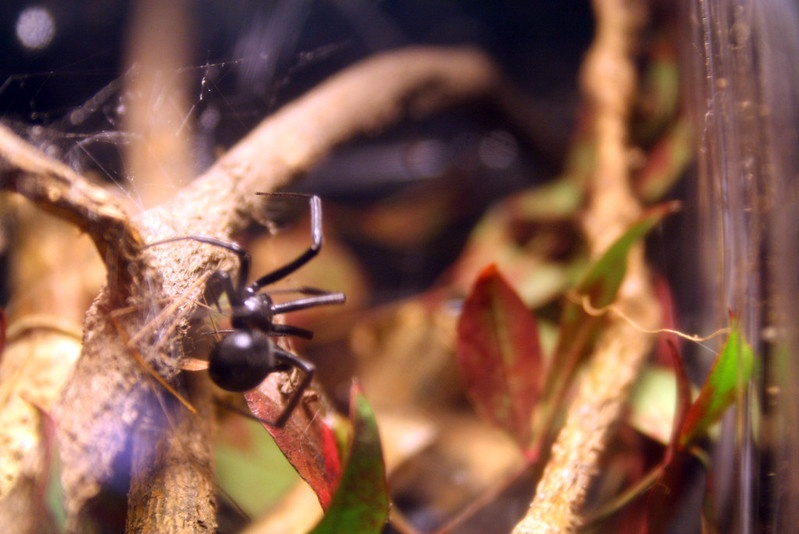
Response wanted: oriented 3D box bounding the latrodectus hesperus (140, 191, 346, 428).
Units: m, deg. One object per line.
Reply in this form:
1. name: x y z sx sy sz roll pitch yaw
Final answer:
1. latrodectus hesperus: -0.136 0.037 0.740 0.215 0.070 0.214 27 4 -5
